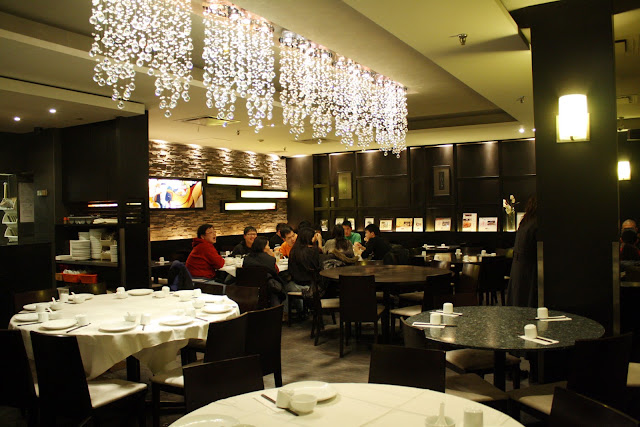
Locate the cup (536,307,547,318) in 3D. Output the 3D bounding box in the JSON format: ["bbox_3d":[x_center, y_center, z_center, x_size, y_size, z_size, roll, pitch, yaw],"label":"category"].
[{"bbox_3d":[2.125,0.959,4.767,0.105,0.090,0.100,0,-1,0],"label":"cup"}]

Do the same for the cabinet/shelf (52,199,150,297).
[{"bbox_3d":[-3.556,0.601,8.132,1.583,1.409,0.606,-2,-3,28],"label":"cabinet/shelf"}]

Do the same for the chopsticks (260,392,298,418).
[{"bbox_3d":[-0.279,1.342,3.427,0.295,0.022,0.029,24,-17,27],"label":"chopsticks"}]

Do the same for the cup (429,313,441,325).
[{"bbox_3d":[1.089,1.013,4.711,0.094,0.076,0.091,-1,-2,0],"label":"cup"}]

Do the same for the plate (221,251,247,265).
[{"bbox_3d":[-1.550,0.808,8.681,0.339,0.118,0.273,1,1,33],"label":"plate"}]

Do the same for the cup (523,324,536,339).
[{"bbox_3d":[1.796,1.033,4.274,0.109,0.106,0.105,0,-4,0],"label":"cup"}]

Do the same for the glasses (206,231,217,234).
[{"bbox_3d":[-1.769,0.320,8.011,0.143,0.042,0.140,-14,-7,26],"label":"glasses"}]

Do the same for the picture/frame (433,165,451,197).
[{"bbox_3d":[3.106,-0.831,12.645,0.427,0.728,0.158,0,2,16],"label":"picture/frame"}]

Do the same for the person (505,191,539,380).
[{"bbox_3d":[2.307,0.473,5.670,0.311,1.291,0.584,0,2,20],"label":"person"}]

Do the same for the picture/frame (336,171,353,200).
[{"bbox_3d":[0.699,-0.773,13.944,0.455,0.764,0.141,0,2,34],"label":"picture/frame"}]

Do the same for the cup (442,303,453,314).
[{"bbox_3d":[1.288,0.956,4.957,0.133,0.100,0.105,-1,2,-10],"label":"cup"}]
